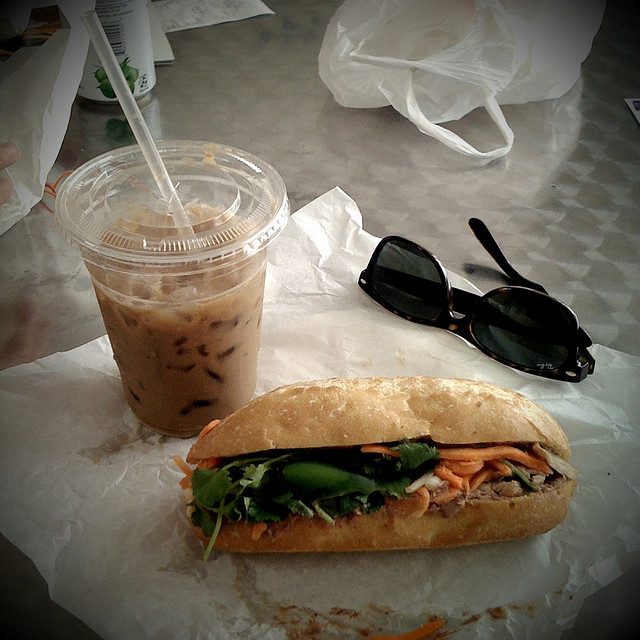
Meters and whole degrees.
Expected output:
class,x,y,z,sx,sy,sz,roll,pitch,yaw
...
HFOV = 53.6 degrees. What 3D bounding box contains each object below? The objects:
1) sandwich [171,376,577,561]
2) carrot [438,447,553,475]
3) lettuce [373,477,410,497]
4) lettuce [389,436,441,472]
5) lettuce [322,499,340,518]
class,x,y,z,sx,sy,sz,roll,pitch,yaw
sandwich,0.159,0.320,1.732,1.044,0.350,0.459,-2,4,0
carrot,0.445,0.361,1.627,0.303,0.054,0.045,3,41,-5
lettuce,0.187,0.410,1.559,0.057,0.017,0.053,-1,16,13
lettuce,0.232,0.329,1.571,0.109,0.060,0.066,-12,48,-18
lettuce,0.026,0.470,1.578,0.051,0.034,0.043,2,56,2
